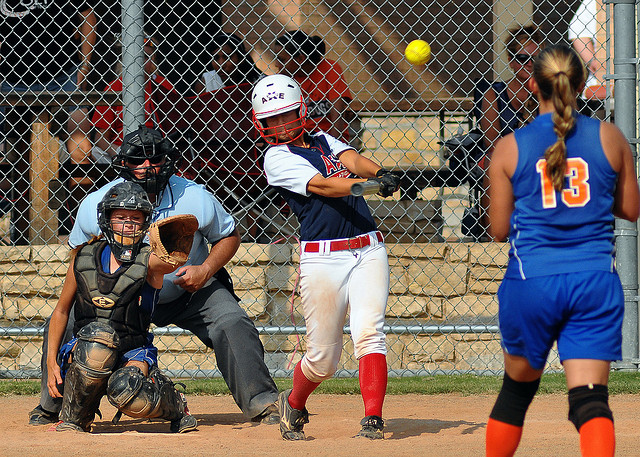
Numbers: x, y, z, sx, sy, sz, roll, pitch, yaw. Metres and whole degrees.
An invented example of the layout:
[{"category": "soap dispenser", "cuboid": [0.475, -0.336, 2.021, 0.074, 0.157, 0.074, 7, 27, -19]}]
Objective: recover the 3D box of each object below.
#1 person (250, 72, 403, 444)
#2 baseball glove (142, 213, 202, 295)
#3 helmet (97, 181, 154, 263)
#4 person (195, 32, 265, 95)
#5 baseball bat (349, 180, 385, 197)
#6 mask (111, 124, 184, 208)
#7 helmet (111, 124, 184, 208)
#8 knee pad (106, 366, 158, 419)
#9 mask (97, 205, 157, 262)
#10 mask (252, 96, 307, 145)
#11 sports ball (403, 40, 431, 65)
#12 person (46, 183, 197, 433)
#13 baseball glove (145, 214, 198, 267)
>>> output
[{"category": "person", "cuboid": [0.069, 0.188, 8.575, 0.968, 2.496, 0.535, -2, 2, 7]}, {"category": "baseball glove", "cuboid": [-1.053, 0.180, 8.582, 0.229, 0.532, 0.405, -2, -18, 35]}, {"category": "helmet", "cuboid": [-1.361, -0.046, 8.762, 0.384, 0.528, 0.464, 5, -1, -19]}, {"category": "person", "cuboid": [-0.870, -1.572, 11.683, 0.605, 0.584, 1.236, -2, 3, -6]}, {"category": "baseball bat", "cuboid": [0.311, -0.264, 8.310, 0.093, 0.089, 0.325, 20, 14, 24]}, {"category": "mask", "cuboid": [-1.262, -0.491, 9.158, 0.493, 0.483, 0.551, -3, 38, -12]}, {"category": "helmet", "cuboid": [-1.233, -0.478, 8.978, 0.491, 0.478, 0.552, -3, 37, -11]}, {"category": "knee pad", "cuboid": [-1.272, 1.120, 8.530, 0.334, 0.355, 0.123, -2, 2, -8]}, {"category": "mask", "cuboid": [-1.352, -0.016, 8.736, 0.393, 0.469, 0.477, 3, -4, -26]}, {"category": "mask", "cuboid": [-0.264, -0.759, 8.802, 0.284, 0.293, 0.357, -13, 32, 16]}, {"category": "sports ball", "cuboid": [0.903, -1.635, 11.687, 0.227, 0.238, 0.231, -2, 2, 0]}, {"category": "person", "cuboid": [-1.401, 0.561, 8.665, 0.996, 1.725, 0.465, -2, 2, -6]}, {"category": "baseball glove", "cuboid": [-0.958, 0.070, 8.783, 0.305, 0.197, 0.414, -19, -28, 15]}]
